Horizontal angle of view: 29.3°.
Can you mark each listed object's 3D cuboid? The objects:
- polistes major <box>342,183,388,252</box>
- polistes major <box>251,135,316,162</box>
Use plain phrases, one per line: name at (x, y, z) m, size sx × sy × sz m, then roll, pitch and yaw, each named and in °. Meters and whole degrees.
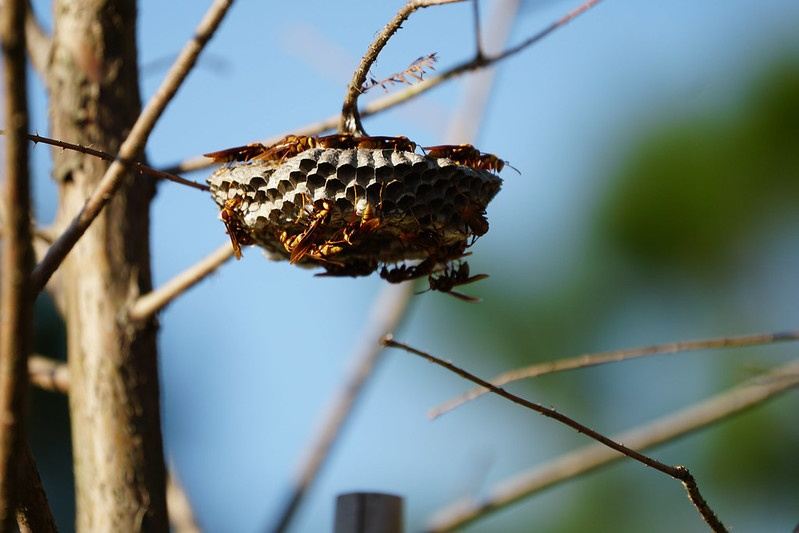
polistes major at (-0.143, -0.185, 5.905) m, size 0.164 × 0.069 × 0.217 m, roll 22°, pitch -59°, yaw -30°
polistes major at (-0.430, -0.457, 5.920) m, size 0.169 × 0.118 × 0.051 m, roll -15°, pitch -81°, yaw 21°
